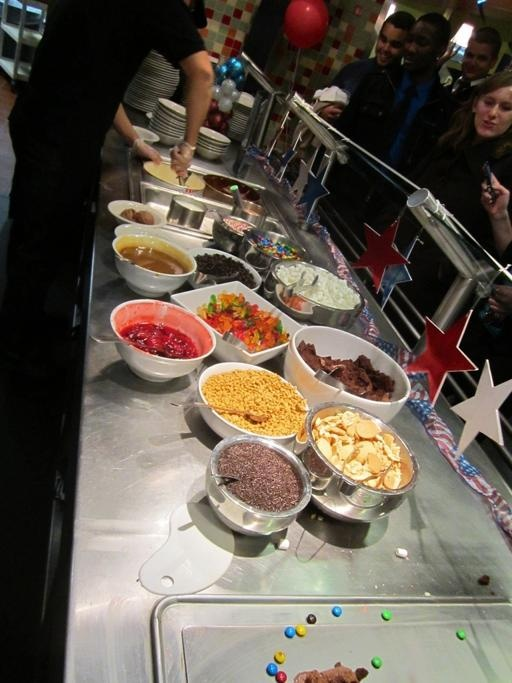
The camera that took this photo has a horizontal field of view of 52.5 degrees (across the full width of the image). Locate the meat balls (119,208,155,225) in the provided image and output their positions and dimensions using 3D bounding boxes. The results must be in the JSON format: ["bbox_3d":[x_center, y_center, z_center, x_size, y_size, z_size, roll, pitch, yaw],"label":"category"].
[{"bbox_3d":[-0.382,-0.404,1.662,0.064,0.035,0.087,37,21,32],"label":"meat balls"}]

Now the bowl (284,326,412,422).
[{"bbox_3d":[0.195,0.058,1.235,0.272,0.141,0.250,23,22,-10],"label":"bowl"}]

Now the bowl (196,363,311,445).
[{"bbox_3d":[-0.015,0.128,1.091,0.227,0.082,0.220,3,29,-2],"label":"bowl"}]

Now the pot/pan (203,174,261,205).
[{"bbox_3d":[-0.114,-0.692,2.352,0.229,0.050,0.203,18,31,-4],"label":"pot/pan"}]

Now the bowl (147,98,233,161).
[{"bbox_3d":[-0.377,-1.082,2.778,0.377,0.160,0.333,27,30,-8],"label":"bowl"}]

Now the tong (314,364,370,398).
[{"bbox_3d":[0.188,0.073,1.141,0.091,0.034,0.067,31,9,14],"label":"tong"}]

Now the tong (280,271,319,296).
[{"bbox_3d":[0.136,-0.177,1.557,0.042,0.068,0.265,-6,11,16],"label":"tong"}]

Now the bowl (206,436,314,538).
[{"bbox_3d":[-0.006,0.246,0.887,0.175,0.086,0.173,20,26,-10],"label":"bowl"}]

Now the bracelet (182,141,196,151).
[{"bbox_3d":[-0.288,-0.817,2.191,0.049,0.013,0.035,35,66,-7],"label":"bracelet"}]

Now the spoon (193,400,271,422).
[{"bbox_3d":[-0.042,0.137,1.019,0.122,0.018,0.022,12,51,-20],"label":"spoon"}]
